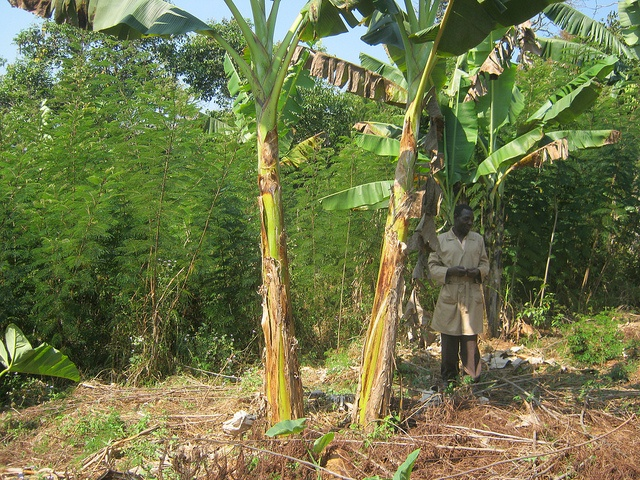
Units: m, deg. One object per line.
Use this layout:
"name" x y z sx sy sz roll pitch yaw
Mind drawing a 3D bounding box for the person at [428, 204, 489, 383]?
"person" 1.807 0.701 7.618 0.739 2.327 0.446 2 2 18
